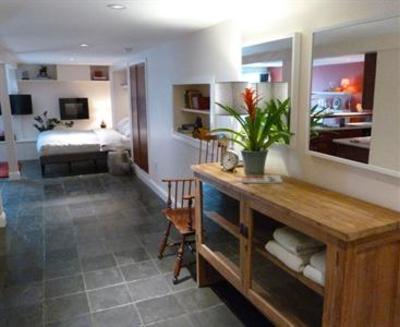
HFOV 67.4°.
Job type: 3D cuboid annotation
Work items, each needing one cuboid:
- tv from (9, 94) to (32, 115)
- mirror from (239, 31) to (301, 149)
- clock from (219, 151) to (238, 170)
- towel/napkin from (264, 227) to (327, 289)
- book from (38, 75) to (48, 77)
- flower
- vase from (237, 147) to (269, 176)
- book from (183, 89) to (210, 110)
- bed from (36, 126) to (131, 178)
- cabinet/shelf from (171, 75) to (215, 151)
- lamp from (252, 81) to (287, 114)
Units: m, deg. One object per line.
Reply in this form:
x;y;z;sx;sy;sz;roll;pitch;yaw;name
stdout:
-4.813;-1.598;8.093;0.494;0.512;0.140;-11;18;-35;tv
0.545;-0.547;2.274;0.068;0.881;0.916;-2;7;-16;mirror
0.231;-0.023;2.425;0.050;0.173;0.168;2;-6;-36;clock
0.495;0.517;1.665;0.239;0.089;0.238;6;9;-34;towel/napkin
-4.284;-2.397;8.215;0.130;0.031;0.122;0;4;-6;book
0.393;-0.298;2.316;0.546;0.389;0.550;-4;4;-14;flower
0.398;-0.008;2.216;0.189;0.158;0.179;1;4;10;vase
-0.043;-0.836;3.971;0.266;0.192;0.412;-2;11;-21;book
-2.748;-0.329;7.160;1.937;0.791;1.667;-6;15;-21;bed
-0.091;-0.679;3.854;0.327;0.900;1.024;-4;7;-28;cabinet/shelf
0.529;-0.558;2.328;0.177;0.230;0.331;-4;10;-16;lamp
